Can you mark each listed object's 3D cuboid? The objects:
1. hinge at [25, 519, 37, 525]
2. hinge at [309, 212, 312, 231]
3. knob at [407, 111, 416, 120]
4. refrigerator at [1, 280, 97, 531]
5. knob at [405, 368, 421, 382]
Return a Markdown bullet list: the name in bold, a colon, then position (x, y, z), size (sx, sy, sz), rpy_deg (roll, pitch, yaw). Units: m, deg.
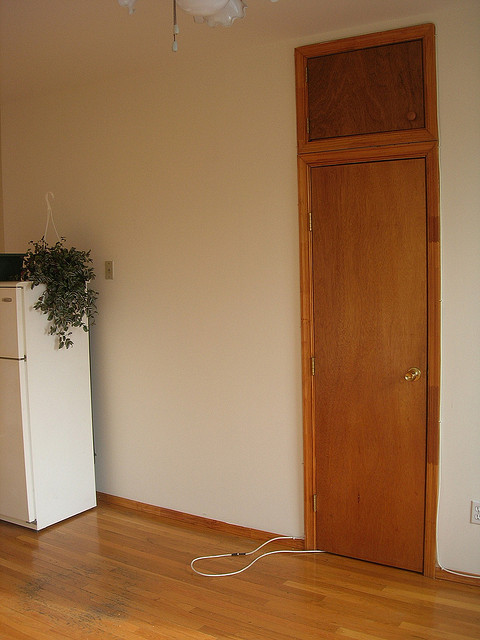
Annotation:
- **hinge**: position (-1.109, 1.065, 3.097), size (0.037, 0.008, 0.036), rpy_deg (3, 3, 36)
- **hinge**: position (0.324, -0.454, 2.718), size (0.012, 0.080, 0.003), rpy_deg (-3, 4, -18)
- **knob**: position (0.713, -0.855, 2.452), size (0.033, 0.036, 0.018), rpy_deg (0, 4, 25)
- **refrigerator**: position (-1.061, 0.448, 3.196), size (0.503, 1.328, 0.284), rpy_deg (-3, 4, -20)
- **knob**: position (0.748, 0.234, 2.538), size (0.056, 0.052, 0.028), rpy_deg (-14, -6, 31)
